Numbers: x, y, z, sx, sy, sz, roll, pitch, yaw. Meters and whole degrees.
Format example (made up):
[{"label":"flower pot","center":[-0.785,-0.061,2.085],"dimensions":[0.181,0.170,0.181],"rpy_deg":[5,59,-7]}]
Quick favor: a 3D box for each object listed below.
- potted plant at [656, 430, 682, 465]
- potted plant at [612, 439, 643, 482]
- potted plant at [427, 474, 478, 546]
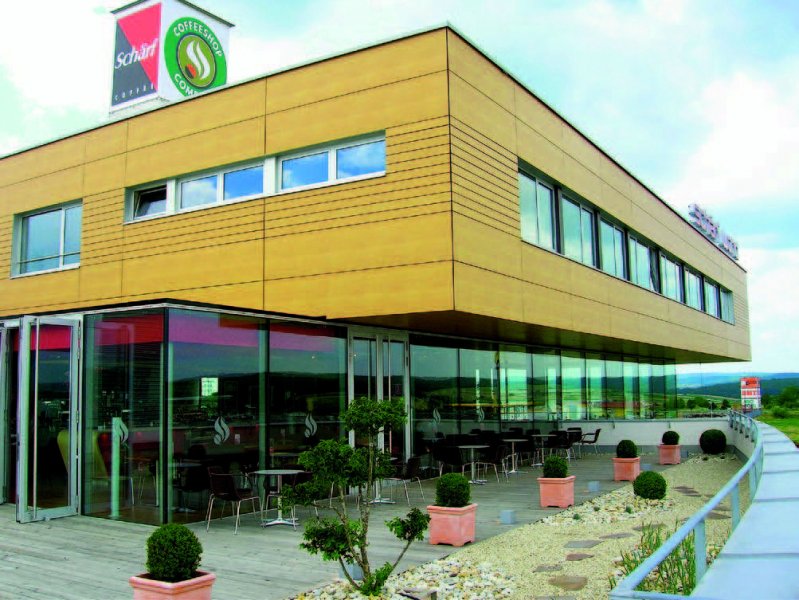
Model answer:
[{"label":"potted plant","center":[8.047,4.462,20.388],"dimensions":[0.586,0.894,0.991],"rpy_deg":[-2,-4,24]},{"label":"potted plant","center":[5.711,4.066,17.170],"dimensions":[0.610,0.910,1.083],"rpy_deg":[-2,-4,16]},{"label":"potted plant","center":[0.808,3.261,10.560],"dimensions":[0.731,1.034,0.537],"rpy_deg":[-1,-3,2]}]
